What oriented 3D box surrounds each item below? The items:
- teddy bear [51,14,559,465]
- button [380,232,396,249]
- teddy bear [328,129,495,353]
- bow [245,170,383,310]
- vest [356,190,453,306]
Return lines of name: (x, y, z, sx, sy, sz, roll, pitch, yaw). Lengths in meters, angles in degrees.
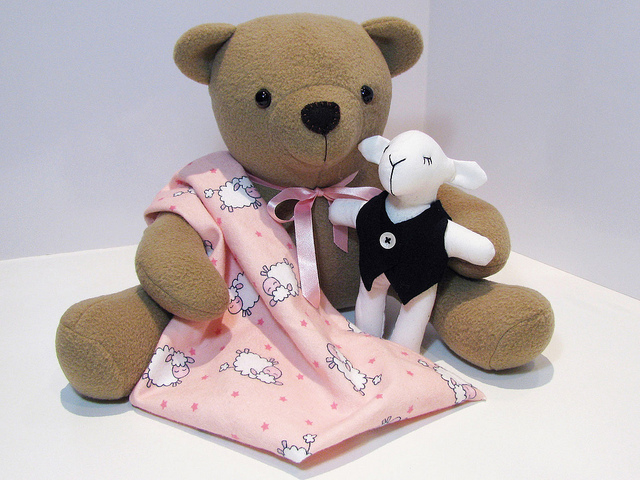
teddy bear: (-0.028, -0.046, 1.653, 1.165, 0.894, 0.950, 4, 29, 0)
button: (0.165, 0.002, 1.580, 0.033, 0.038, 0.009, -1, 2, 27)
teddy bear: (0.221, 0.019, 1.627, 0.374, 0.529, 0.161, 23, 29, 28)
bow: (0.004, 0.004, 1.715, 0.389, 0.378, 0.056, 0, -19, -16)
vest: (0.196, 0.026, 1.631, 0.225, 0.283, 0.148, 7, -15, 21)
